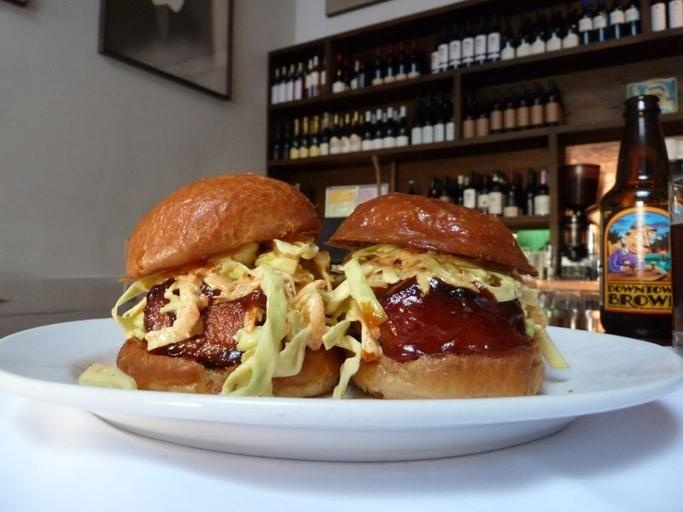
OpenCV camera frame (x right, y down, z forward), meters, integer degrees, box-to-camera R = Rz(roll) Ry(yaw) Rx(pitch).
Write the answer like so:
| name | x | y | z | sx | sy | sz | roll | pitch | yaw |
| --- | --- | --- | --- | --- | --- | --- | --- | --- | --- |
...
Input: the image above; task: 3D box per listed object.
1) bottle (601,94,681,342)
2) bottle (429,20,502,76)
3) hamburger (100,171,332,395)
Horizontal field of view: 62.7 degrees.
| name | x | y | z | sx | sy | sz | roll | pitch | yaw |
| --- | --- | --- | --- | --- | --- | --- | --- | --- | --- |
| bottle | 0.480 | -0.063 | 0.917 | 0.103 | 0.410 | 0.105 | 0 | -1 | 0 |
| bottle | 0.635 | -1.045 | 2.822 | 0.393 | 0.328 | 0.092 | 2 | 7 | 36 |
| hamburger | -0.114 | 0.043 | 0.854 | 0.410 | 0.285 | 0.363 | -8 | -7 | 9 |
